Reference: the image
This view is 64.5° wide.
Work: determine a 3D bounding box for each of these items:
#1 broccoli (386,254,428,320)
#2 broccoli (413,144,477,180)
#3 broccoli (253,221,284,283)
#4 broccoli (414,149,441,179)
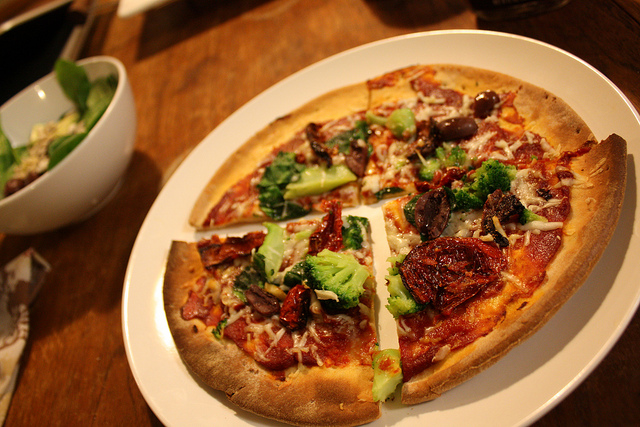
[{"bbox_3d":[0.747,0.689,4.801,0.347,0.274,0.572,-21,83,1],"label":"broccoli"},{"bbox_3d":[1.356,-0.542,5.348,0.346,0.121,0.468,3,51,14],"label":"broccoli"},{"bbox_3d":[-0.506,0.386,5.226,0.268,0.145,0.552,1,62,-5],"label":"broccoli"},{"bbox_3d":[1.113,-0.520,5.277,0.225,0.124,0.272,-45,70,22],"label":"broccoli"}]
